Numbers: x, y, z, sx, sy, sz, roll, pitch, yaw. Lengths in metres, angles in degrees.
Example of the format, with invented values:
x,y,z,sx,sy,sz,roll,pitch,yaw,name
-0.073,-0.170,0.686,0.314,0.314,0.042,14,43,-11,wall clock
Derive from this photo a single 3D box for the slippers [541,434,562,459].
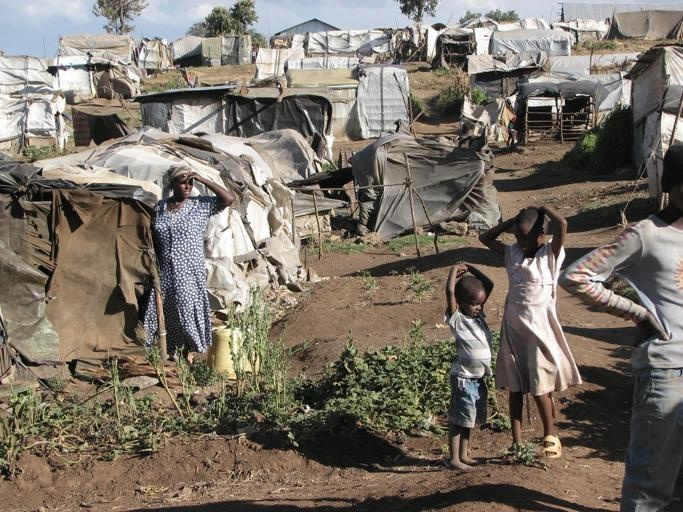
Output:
x,y,z,sx,sy,sz,roll,pitch,yaw,name
2.030,1.845,8.889,0.107,0.094,0.305,4,46,9,slippers
